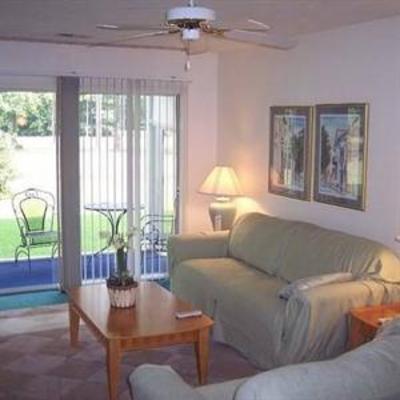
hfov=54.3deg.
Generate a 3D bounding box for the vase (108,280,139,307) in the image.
[{"bbox_3d":[-0.550,0.649,2.829,0.220,0.174,0.219,-7,9,-37],"label":"vase"}]

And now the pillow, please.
[{"bbox_3d":[0.799,0.550,2.671,0.249,0.083,0.279,-7,-27,-33],"label":"pillow"}]

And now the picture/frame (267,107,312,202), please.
[{"bbox_3d":[0.904,-0.464,3.863,0.043,1.035,0.832,-2,6,-25],"label":"picture/frame"}]

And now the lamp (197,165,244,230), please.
[{"bbox_3d":[0.277,0.021,4.638,0.508,0.857,0.564,1,7,13],"label":"lamp"}]
